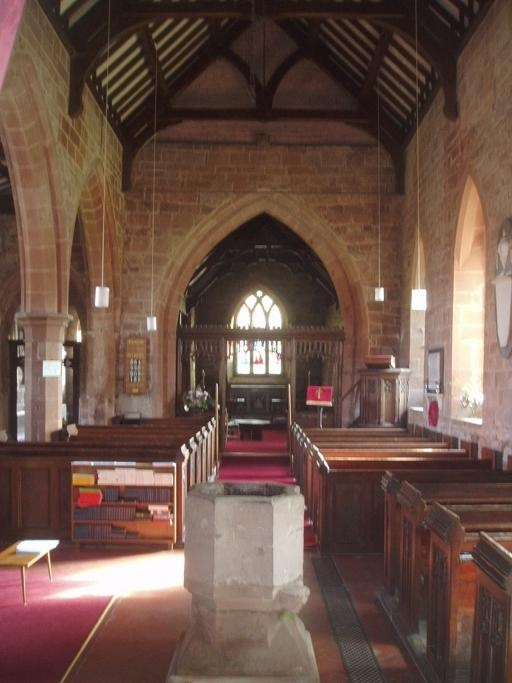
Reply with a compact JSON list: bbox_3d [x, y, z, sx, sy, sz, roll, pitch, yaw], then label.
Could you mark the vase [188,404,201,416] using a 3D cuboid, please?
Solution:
[{"bbox_3d":[-1.134,1.254,12.971,0.234,0.176,0.221,0,-2,1],"label":"vase"}]
